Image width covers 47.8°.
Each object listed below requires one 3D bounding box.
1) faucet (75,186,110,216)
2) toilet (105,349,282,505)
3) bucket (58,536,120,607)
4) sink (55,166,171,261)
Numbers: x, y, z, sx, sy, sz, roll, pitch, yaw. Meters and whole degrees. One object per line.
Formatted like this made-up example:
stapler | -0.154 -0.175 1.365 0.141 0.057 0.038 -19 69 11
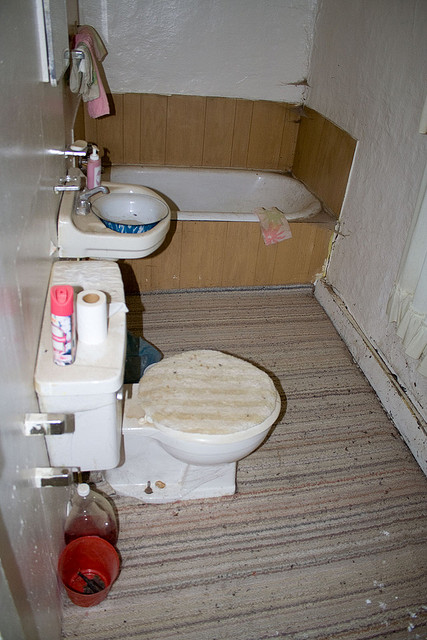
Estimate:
faucet | -0.424 -0.421 1.679 0.102 0.101 0.112 10 31 4
toilet | -0.053 0.321 1.483 0.543 0.395 0.439 -3 43 -8
bucket | -0.310 0.636 1.182 0.110 0.203 0.137 29 36 31
sink | -0.343 -0.330 1.664 0.336 0.186 0.516 0 40 -11
